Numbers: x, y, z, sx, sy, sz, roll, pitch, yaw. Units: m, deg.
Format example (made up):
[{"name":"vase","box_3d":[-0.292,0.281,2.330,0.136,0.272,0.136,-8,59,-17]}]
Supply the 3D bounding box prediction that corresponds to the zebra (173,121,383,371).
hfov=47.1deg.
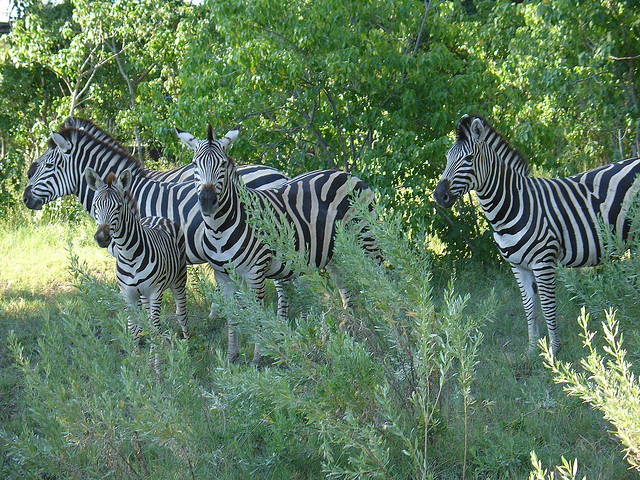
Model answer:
[{"name":"zebra","box_3d":[-0.534,0.106,8.793,0.868,2.772,3.002,10,12,37]}]

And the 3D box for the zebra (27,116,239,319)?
[{"name":"zebra","box_3d":[-1.960,0.028,8.671,3.108,2.904,0.985,1,1,15]}]

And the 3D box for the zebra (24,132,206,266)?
[{"name":"zebra","box_3d":[-2.407,-0.392,9.381,2.643,2.065,0.752,-7,27,-44]}]

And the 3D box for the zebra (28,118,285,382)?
[{"name":"zebra","box_3d":[-2.473,0.234,9.964,0.942,3.182,3.952,11,6,12]}]
